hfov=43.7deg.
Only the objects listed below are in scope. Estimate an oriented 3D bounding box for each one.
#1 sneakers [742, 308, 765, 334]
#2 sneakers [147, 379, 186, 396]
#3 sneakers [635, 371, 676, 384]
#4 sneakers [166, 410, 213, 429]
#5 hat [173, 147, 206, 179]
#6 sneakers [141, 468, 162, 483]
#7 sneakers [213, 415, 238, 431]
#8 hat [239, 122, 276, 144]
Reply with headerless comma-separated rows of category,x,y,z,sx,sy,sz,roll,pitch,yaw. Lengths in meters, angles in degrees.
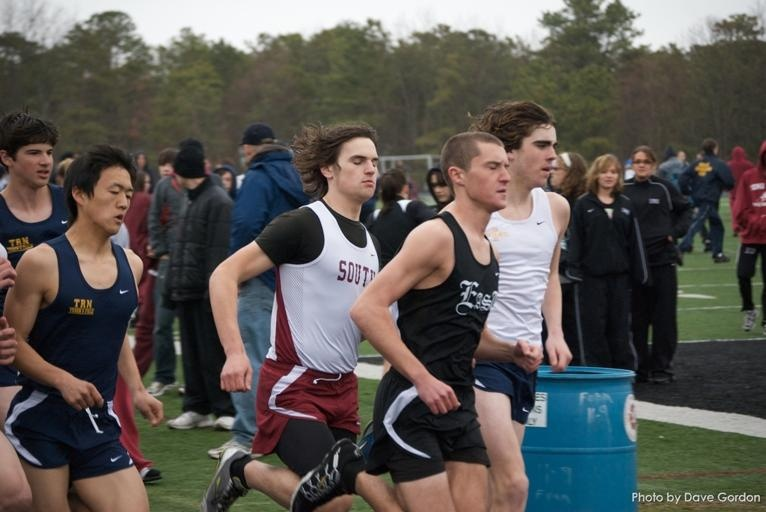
sneakers,5.292,0.839,13.633,0.273,0.531,0.188,6,3,-5
sneakers,-2.433,1.489,10.732,0.415,0.162,0.172,9,-8,-32
sneakers,3.110,1.384,10.847,0.464,0.184,0.142,0,-4,-7
sneakers,-1.899,1.640,9.512,0.458,0.162,0.178,4,-4,-18
hat,-1.872,-0.899,9.347,0.349,0.279,0.282,8,9,-34
sneakers,-1.901,1.825,7.892,0.196,0.072,0.078,-6,-6,35
sneakers,-1.533,1.642,9.426,0.157,0.163,0.391,1,-2,3
hat,-1.178,-1.187,9.117,0.289,0.145,0.201,-2,10,24
